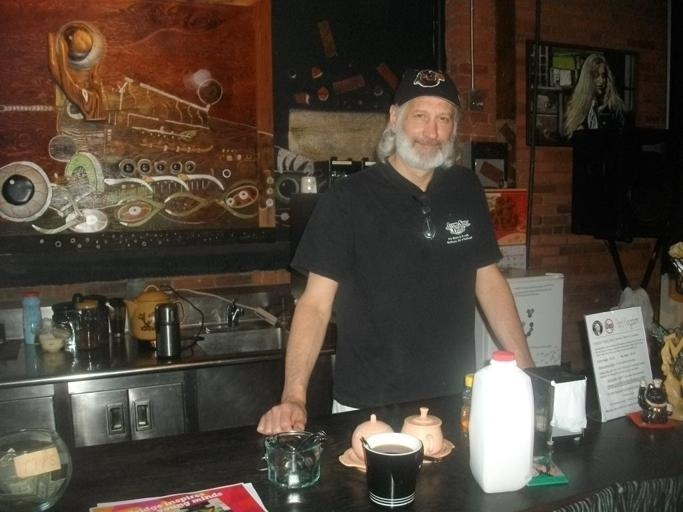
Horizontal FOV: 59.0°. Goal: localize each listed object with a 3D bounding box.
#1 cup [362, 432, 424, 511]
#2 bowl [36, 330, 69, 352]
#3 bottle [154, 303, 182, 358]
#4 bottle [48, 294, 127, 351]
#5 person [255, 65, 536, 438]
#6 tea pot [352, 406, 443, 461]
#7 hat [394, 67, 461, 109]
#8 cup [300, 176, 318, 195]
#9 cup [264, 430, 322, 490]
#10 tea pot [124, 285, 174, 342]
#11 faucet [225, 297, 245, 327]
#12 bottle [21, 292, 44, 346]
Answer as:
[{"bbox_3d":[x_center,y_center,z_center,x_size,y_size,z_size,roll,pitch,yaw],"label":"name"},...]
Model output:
[{"bbox_3d":[0.138,0.568,1.617,0.189,0.130,0.150,2,5,17],"label":"cup"},{"bbox_3d":[-1.513,0.437,3.143,0.116,0.080,0.114,1,-6,0],"label":"bowl"},{"bbox_3d":[-0.894,0.383,3.103,0.127,0.261,0.178,-6,14,-18],"label":"bottle"},{"bbox_3d":[-1.339,0.349,3.237,0.413,0.338,0.231,5,-8,-25],"label":"bottle"},{"bbox_3d":[0.176,-0.036,2.238,1.018,1.299,0.620,-8,15,-26],"label":"person"},{"bbox_3d":[0.165,0.511,1.754,0.246,0.097,0.133,-1,-3,13],"label":"tea pot"},{"bbox_3d":[0.296,-0.644,2.432,0.274,0.140,0.332,5,3,1],"label":"hat"},{"bbox_3d":[-0.207,-0.427,3.689,0.114,0.145,0.151,-2,5,-7],"label":"cup"},{"bbox_3d":[-0.131,0.563,1.679,0.148,0.098,0.133,0,-3,5],"label":"cup"},{"bbox_3d":[-1.067,0.315,3.270,0.335,0.301,0.214,3,-2,-28],"label":"tea pot"},{"bbox_3d":[-0.645,0.345,3.679,0.101,0.132,0.141,-3,14,-10],"label":"faucet"},{"bbox_3d":[-1.676,0.328,3.265,0.113,0.288,0.303,-8,15,-27],"label":"bottle"}]
